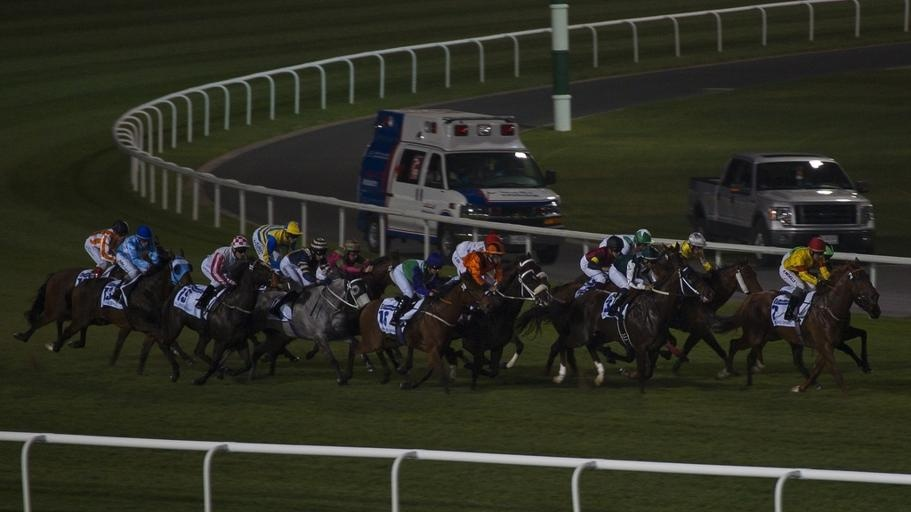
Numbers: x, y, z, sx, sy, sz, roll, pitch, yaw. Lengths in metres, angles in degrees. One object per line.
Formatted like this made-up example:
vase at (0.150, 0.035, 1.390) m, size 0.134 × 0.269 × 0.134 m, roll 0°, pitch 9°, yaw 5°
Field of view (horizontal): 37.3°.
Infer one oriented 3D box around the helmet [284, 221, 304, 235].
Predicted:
helmet at (-2.620, -0.436, 21.647) m, size 0.234 × 0.134 × 0.306 m, roll -7°, pitch 18°, yaw -27°

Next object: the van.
van at (0.317, -1.583, 28.422) m, size 3.268 × 2.357 × 5.080 m, roll -7°, pitch 11°, yaw -21°

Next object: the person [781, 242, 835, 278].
person at (5.528, 0.085, 21.194) m, size 0.652 × 0.442 × 0.901 m, roll -1°, pitch 4°, yaw -29°

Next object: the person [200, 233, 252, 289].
person at (-3.628, 0.107, 21.262) m, size 0.722 × 0.788 × 0.233 m, roll 1°, pitch -3°, yaw 18°

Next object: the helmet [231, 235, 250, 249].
helmet at (-3.417, -0.217, 21.284) m, size 0.300 × 0.141 × 0.338 m, roll -1°, pitch 0°, yaw -18°

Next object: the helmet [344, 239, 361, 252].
helmet at (-1.705, -0.170, 22.119) m, size 0.205 × 0.147 × 0.218 m, roll -1°, pitch 20°, yaw -21°

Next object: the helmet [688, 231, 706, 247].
helmet at (3.832, -0.247, 21.464) m, size 0.242 × 0.232 × 0.261 m, roll 1°, pitch -2°, yaw 8°

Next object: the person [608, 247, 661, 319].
person at (2.842, 0.367, 21.192) m, size 0.766 × 1.051 × 0.452 m, roll 1°, pitch -3°, yaw 10°

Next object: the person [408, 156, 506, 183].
person at (-0.282, -1.766, 27.309) m, size 1.484 × 0.386 × 0.721 m, roll -3°, pitch 11°, yaw -2°

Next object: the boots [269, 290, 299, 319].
boots at (-2.720, 0.745, 21.464) m, size 0.336 × 0.511 × 0.274 m, roll 39°, pitch 0°, yaw -5°

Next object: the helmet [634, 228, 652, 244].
helmet at (2.970, -0.299, 21.485) m, size 0.306 × 0.251 × 0.285 m, roll 4°, pitch 40°, yaw -2°

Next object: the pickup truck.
pickup truck at (6.413, -1.195, 27.264) m, size 2.217 × 1.193 × 3.331 m, roll -1°, pitch 6°, yaw -23°

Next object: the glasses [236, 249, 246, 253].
glasses at (-3.364, -0.081, 21.217) m, size 0.096 × 0.058 × 0.093 m, roll 9°, pitch 19°, yaw 38°

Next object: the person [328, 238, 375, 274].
person at (-1.742, -0.002, 22.245) m, size 0.586 × 0.399 × 0.949 m, roll -9°, pitch 12°, yaw -42°

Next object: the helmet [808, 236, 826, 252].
helmet at (5.624, -0.167, 21.036) m, size 0.266 × 0.206 × 0.254 m, roll 5°, pitch 19°, yaw 5°

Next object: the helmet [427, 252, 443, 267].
helmet at (-0.322, 0.079, 21.404) m, size 0.201 × 0.177 × 0.272 m, roll 35°, pitch 34°, yaw 30°

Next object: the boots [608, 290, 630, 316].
boots at (2.554, 0.739, 21.092) m, size 0.305 × 0.399 × 0.138 m, roll 24°, pitch 0°, yaw 30°

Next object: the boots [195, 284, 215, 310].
boots at (-3.928, 0.653, 21.186) m, size 0.150 × 0.513 × 0.177 m, roll 40°, pitch -31°, yaw 4°

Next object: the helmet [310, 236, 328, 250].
helmet at (-2.220, -0.200, 21.862) m, size 0.227 × 0.192 × 0.240 m, roll 1°, pitch 20°, yaw -10°
